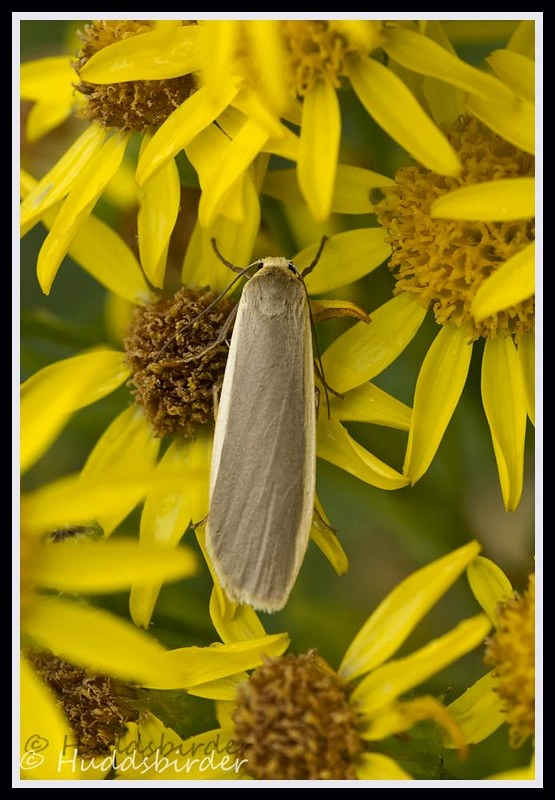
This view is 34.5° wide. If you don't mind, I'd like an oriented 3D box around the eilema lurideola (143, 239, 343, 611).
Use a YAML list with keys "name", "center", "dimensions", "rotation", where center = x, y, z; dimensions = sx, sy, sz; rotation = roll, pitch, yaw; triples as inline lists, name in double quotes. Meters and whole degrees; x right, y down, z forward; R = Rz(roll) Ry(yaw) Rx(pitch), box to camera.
- name: "eilema lurideola"
  center: [-0.024, 0.046, 1.597]
  dimensions: [0.372, 0.126, 0.621]
  rotation: [4, 93, 4]
